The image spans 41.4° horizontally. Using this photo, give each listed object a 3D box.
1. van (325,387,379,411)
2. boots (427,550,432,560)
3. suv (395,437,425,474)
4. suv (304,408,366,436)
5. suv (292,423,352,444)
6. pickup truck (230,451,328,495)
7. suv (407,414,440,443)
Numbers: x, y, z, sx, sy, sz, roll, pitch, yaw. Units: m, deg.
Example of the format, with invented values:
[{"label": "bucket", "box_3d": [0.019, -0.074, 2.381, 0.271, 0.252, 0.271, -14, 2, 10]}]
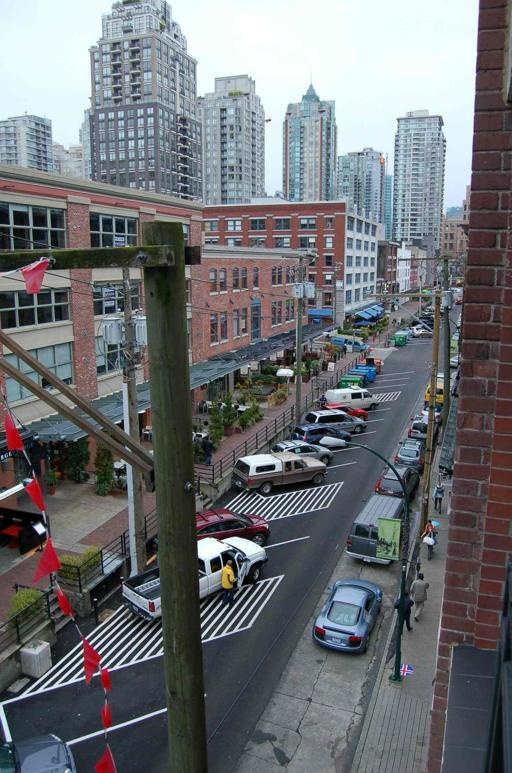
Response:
[{"label": "van", "box_3d": [5.889, 0.787, 41.498, 2.477, 1.257, 1.435, -6, 16, -15]}, {"label": "boots", "box_3d": [5.563, 5.379, 21.506, 0.094, 0.303, 0.207, 3, -15, 25]}, {"label": "suv", "box_3d": [7.090, 3.127, 30.792, 0.883, 0.780, 2.059, 1, 16, 22]}, {"label": "suv", "box_3d": [4.246, 1.802, 36.404, 2.859, 1.264, 1.422, -5, 16, -20]}, {"label": "suv", "box_3d": [3.313, 2.336, 34.501, 2.151, 0.962, 1.179, -6, 14, -18]}, {"label": "pickup truck", "box_3d": [0.904, 3.615, 27.894, 3.565, 1.466, 1.029, -4, 10, -24]}, {"label": "suv", "box_3d": [8.668, 2.185, 35.363, 1.162, 1.143, 2.195, 3, 23, 29]}]
